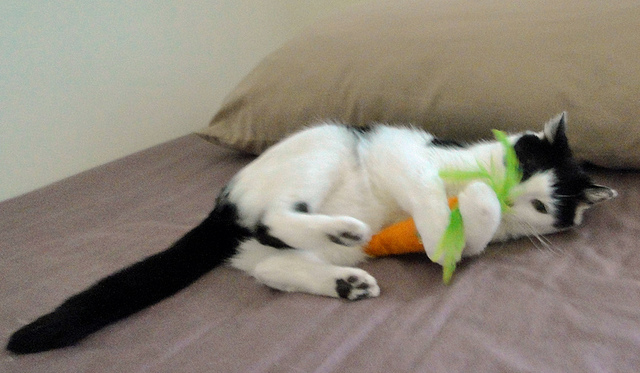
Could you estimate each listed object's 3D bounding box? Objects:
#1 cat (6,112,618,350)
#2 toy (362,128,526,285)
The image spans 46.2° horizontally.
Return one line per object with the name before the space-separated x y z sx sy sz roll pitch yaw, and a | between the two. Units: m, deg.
cat | 0.043 0.188 2.725 1.184 0.355 0.465 -15 22 10
toy | 0.446 0.096 2.689 0.479 0.160 0.267 -36 28 4
